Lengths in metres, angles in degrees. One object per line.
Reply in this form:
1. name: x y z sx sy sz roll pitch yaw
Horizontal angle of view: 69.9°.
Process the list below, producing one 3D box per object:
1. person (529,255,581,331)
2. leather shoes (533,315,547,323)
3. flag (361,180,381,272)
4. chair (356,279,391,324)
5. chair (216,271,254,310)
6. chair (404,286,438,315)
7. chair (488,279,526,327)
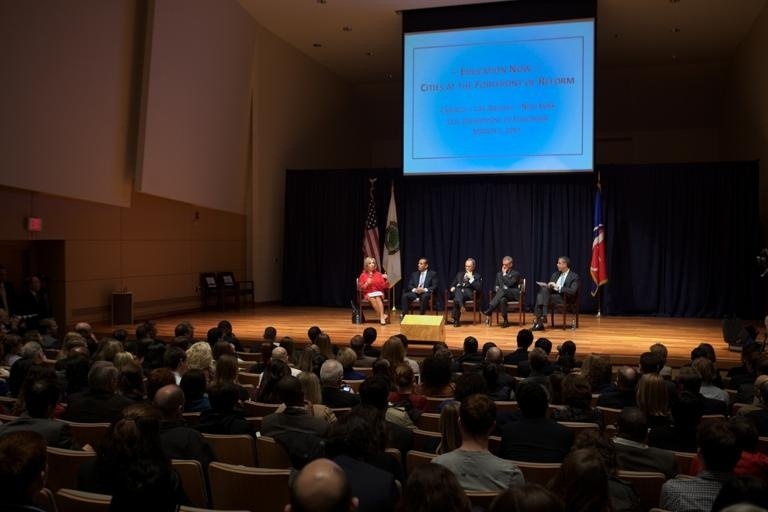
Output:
1. person: 3.251 0.677 10.450 0.969 1.569 0.646 19 -16 -31
2. leather shoes: 2.961 1.188 10.423 0.169 0.249 0.533 -3 -9 24
3. flag: -0.317 -0.791 13.401 0.422 2.211 0.322 6 33 13
4. chair: -0.215 0.837 11.397 0.591 1.262 0.777 -2 -10 -12
5. chair: -3.663 0.817 13.503 0.768 1.221 0.814 0 0 3
6. chair: 0.773 0.942 11.567 0.454 0.713 0.591 -2 -12 18
7. chair: 2.479 0.942 11.035 0.528 1.292 0.926 -6 -15 37
